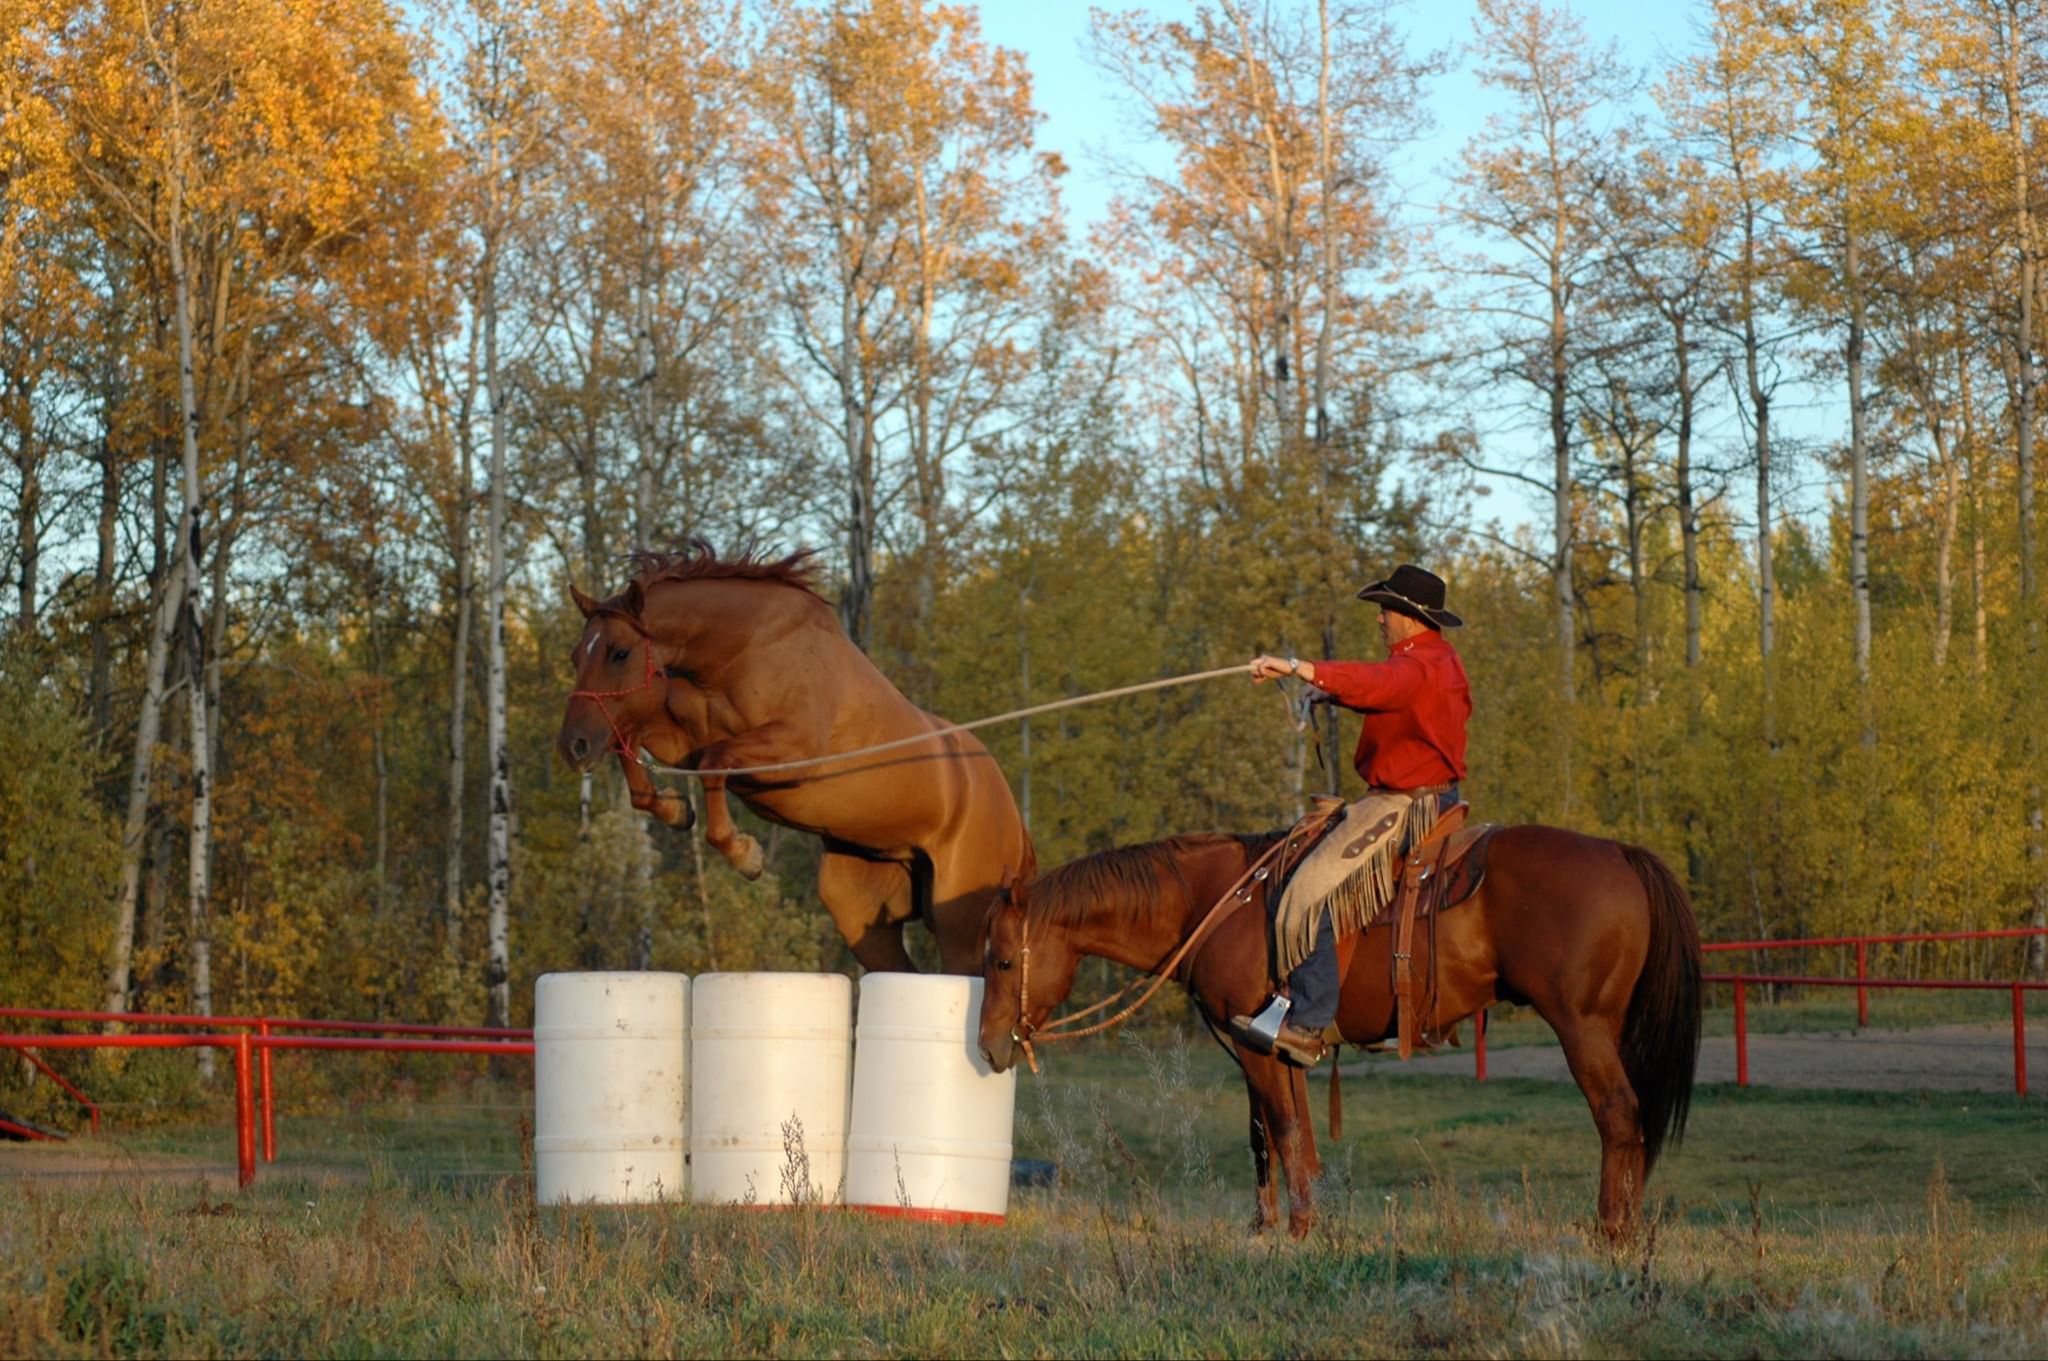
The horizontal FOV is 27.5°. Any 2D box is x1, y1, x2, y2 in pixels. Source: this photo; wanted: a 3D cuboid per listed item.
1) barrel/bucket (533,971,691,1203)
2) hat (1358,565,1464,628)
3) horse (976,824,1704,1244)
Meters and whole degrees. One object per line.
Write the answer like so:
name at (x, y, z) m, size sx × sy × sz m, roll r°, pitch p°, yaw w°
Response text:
barrel/bucket at (-7.095, 7.123, 71.832) m, size 2.642 × 3.994 × 2.396 m, roll 2°, pitch -7°, yaw -11°
hat at (6.614, -1.339, 70.233) m, size 1.293 × 0.540 × 1.095 m, roll 27°, pitch 9°, yaw 10°
horse at (5.678, 6.334, 73.052) m, size 11.963 × 7.092 × 7.251 m, roll -1°, pitch -7°, yaw 7°
